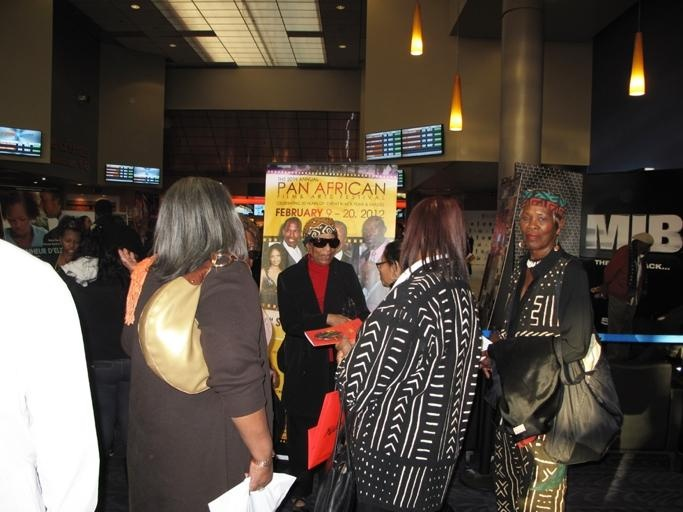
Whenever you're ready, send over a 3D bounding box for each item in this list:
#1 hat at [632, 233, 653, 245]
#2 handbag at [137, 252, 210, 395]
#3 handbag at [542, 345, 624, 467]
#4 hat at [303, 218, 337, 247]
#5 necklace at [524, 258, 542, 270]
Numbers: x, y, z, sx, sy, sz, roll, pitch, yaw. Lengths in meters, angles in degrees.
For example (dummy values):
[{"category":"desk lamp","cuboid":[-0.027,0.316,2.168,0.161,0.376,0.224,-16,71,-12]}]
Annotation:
[{"category":"hat","cuboid":[2.198,-0.124,4.093,0.165,0.101,0.039,0,2,-19]},{"category":"handbag","cuboid":[-0.704,0.326,2.342,0.380,0.414,0.149,-9,5,-26]},{"category":"handbag","cuboid":[1.320,0.861,3.049,0.404,0.497,0.145,0,2,-21]},{"category":"hat","cuboid":[-0.161,-0.182,4.025,0.165,0.180,0.224,6,-22,-27]},{"category":"necklace","cuboid":[1.125,0.045,3.287,0.049,0.036,0.073,14,-3,34]}]
